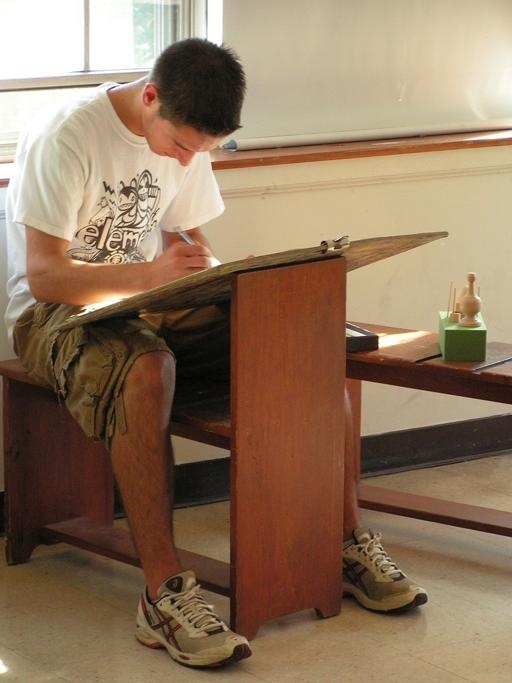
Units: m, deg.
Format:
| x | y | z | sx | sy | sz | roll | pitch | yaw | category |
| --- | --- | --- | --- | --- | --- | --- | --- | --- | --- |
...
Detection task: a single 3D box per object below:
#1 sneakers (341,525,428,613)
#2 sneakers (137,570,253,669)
| x | y | z | sx | sy | sz | roll | pitch | yaw | category |
| --- | --- | --- | --- | --- | --- | --- | --- | --- | --- |
| 0.266 | 0.490 | 1.431 | 0.130 | 0.131 | 0.285 | 1 | -5 | -23 | sneakers |
| -0.118 | 0.481 | 1.155 | 0.102 | 0.125 | 0.274 | -4 | 1 | -41 | sneakers |
